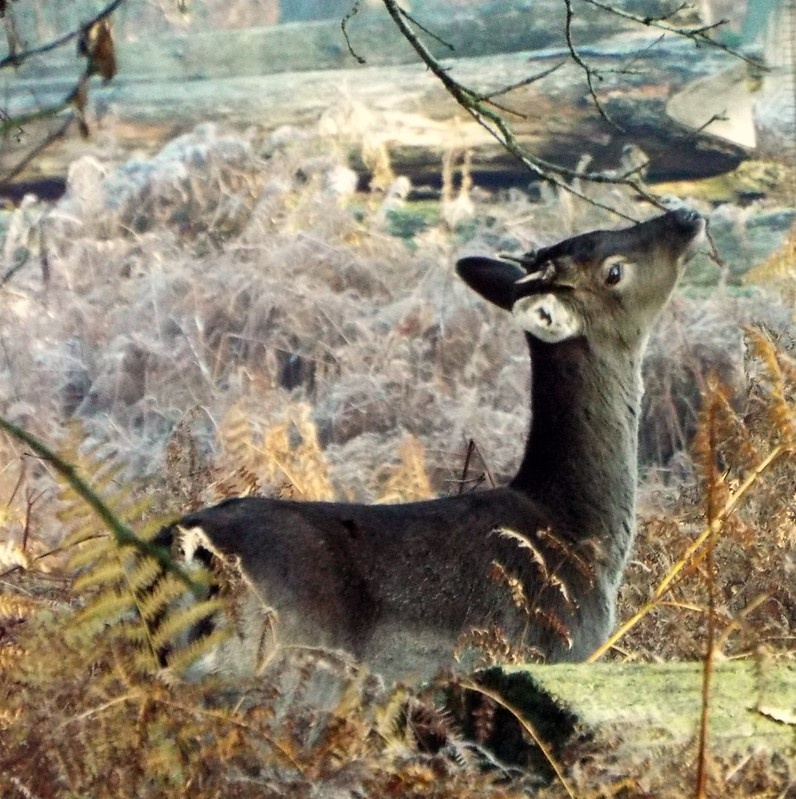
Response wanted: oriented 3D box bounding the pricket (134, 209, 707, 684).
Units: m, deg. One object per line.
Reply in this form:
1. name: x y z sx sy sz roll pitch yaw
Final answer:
1. pricket: 0.607 0.660 15.137 4.785 2.731 1.896 -24 32 -28
